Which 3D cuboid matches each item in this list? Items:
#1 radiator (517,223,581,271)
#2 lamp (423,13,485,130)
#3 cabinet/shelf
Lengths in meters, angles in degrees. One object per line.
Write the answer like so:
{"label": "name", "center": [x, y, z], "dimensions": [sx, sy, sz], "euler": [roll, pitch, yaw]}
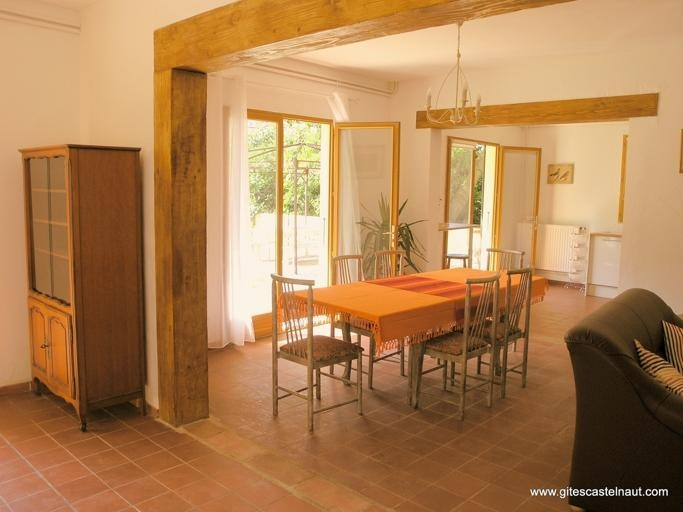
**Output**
{"label": "radiator", "center": [3.661, -0.178, 9.170], "dimensions": [0.838, 0.738, 0.331], "euler": [7, 8, 39]}
{"label": "lamp", "center": [1.457, -2.363, 6.687], "dimensions": [0.747, 1.224, 0.749], "euler": [13, 28, 32]}
{"label": "cabinet/shelf", "center": [-2.100, 0.222, 4.097], "dimensions": [1.053, 2.134, 0.661], "euler": [3, 13, 9]}
